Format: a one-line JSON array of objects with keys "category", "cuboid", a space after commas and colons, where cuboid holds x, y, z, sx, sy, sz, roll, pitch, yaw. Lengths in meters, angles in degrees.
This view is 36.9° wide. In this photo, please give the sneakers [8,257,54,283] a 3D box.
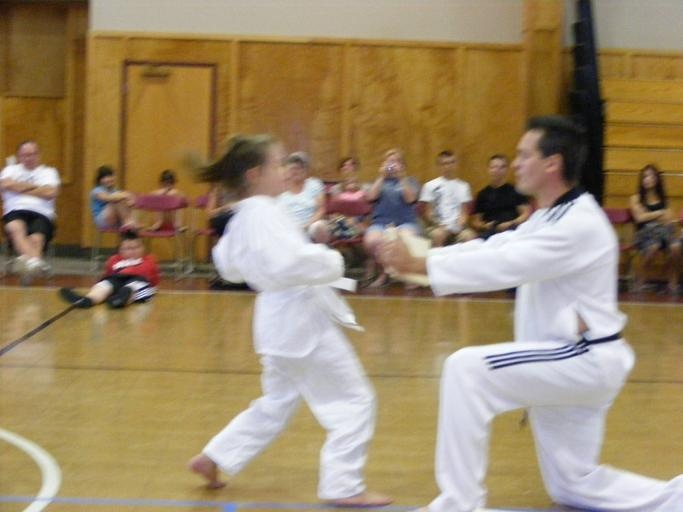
[{"category": "sneakers", "cuboid": [-2.785, 0.128, 9.313, 0.285, 0.155, 0.441, -3, -3, 6]}]

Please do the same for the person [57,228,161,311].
[{"category": "person", "cuboid": [-1.922, 0.116, 8.683, 0.543, 0.625, 0.876, 2, 3, 17]}]

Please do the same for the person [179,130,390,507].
[{"category": "person", "cuboid": [-0.255, 0.328, 5.447, 1.055, 1.976, 0.440, 1, 3, 1]}]

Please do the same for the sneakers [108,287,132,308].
[{"category": "sneakers", "cuboid": [-1.834, 0.349, 8.520, 0.196, 0.174, 0.188, 0, 3, -14]}]
